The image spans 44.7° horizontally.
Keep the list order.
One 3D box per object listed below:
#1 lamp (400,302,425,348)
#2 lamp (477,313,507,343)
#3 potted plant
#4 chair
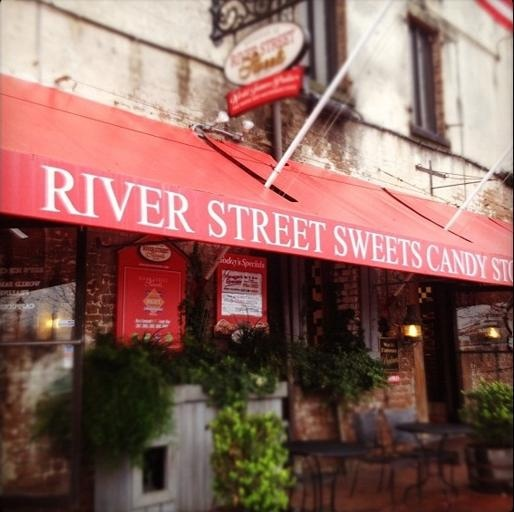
[{"bbox_3d":[2.198,0.984,8.921,0.311,0.494,0.306,-3,-13,13],"label":"lamp"},{"bbox_3d":[3.357,1.028,8.958,0.080,0.330,0.331,7,-9,-39],"label":"lamp"},{"bbox_3d":[2.235,1.739,5.927,0.520,0.975,0.439,-6,-13,12],"label":"potted plant"},{"bbox_3d":[1.497,1.954,6.256,0.914,1.238,0.842,20,-32,-33],"label":"chair"}]
